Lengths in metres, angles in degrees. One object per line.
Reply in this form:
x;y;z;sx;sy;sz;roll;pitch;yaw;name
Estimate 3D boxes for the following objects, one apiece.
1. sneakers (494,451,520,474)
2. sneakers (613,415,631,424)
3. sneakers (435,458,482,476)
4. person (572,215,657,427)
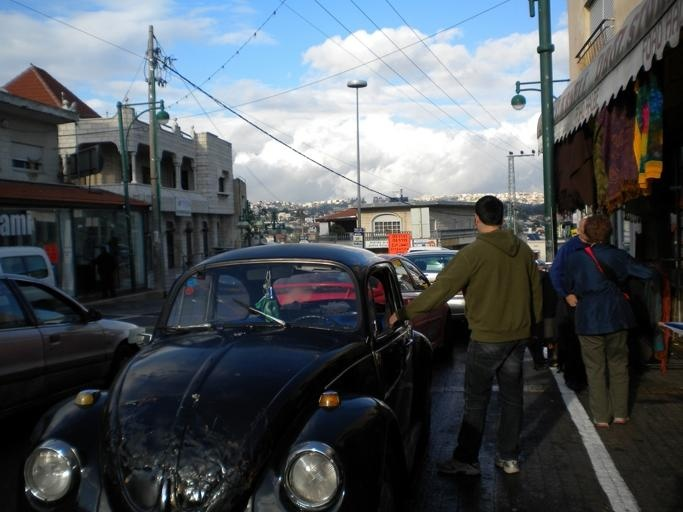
1.440;1.780;5.054;0.094;0.118;0.249;0;6;0;sneakers
2.865;1.660;5.977;0.157;0.075;0.091;0;5;15;sneakers
0.989;1.791;4.968;0.346;0.187;0.151;4;-2;14;sneakers
2.765;0.641;6.109;0.713;2.101;0.656;0;5;19;person
